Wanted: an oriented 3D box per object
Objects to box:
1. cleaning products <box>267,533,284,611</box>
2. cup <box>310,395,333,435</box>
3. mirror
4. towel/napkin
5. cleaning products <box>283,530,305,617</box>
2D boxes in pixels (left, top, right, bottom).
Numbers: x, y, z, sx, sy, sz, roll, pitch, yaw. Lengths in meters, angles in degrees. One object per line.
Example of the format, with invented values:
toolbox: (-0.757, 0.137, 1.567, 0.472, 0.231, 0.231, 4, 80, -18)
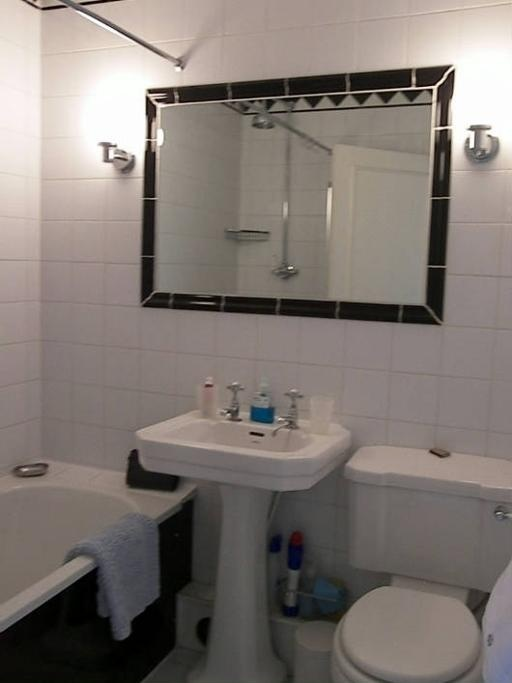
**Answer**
cleaning products: (0.063, 0.794, 2.130, 0.053, 0.238, 0.137, 3, 9, 2)
cup: (0.206, 0.232, 1.955, 0.100, 0.115, 0.102, 2, 4, 0)
mirror: (0.176, -0.496, 2.032, 0.919, 0.652, 0.032, 4, 7, 24)
towel/napkin: (-0.399, 0.665, 1.795, 0.161, 0.262, 0.309, 6, 10, 18)
cleaning products: (0.128, 0.800, 2.091, 0.058, 0.278, 0.056, -3, -15, 30)
